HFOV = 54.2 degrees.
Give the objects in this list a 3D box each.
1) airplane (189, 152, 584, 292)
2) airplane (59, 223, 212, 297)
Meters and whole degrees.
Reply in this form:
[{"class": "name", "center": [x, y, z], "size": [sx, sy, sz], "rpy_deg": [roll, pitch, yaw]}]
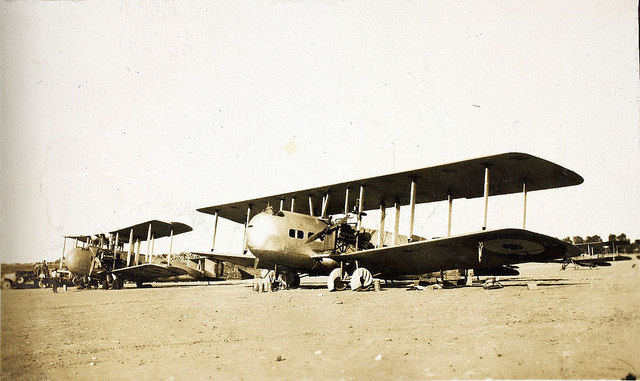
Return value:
[{"class": "airplane", "center": [2.388, 1.595, 22.128], "size": [12.706, 3.964, 3.720], "rpy_deg": [-6, -11, 28]}, {"class": "airplane", "center": [-9.051, 3.509, 30.009], "size": [5.777, 3.003, 8.799], "rpy_deg": [2, -11, -12]}]
